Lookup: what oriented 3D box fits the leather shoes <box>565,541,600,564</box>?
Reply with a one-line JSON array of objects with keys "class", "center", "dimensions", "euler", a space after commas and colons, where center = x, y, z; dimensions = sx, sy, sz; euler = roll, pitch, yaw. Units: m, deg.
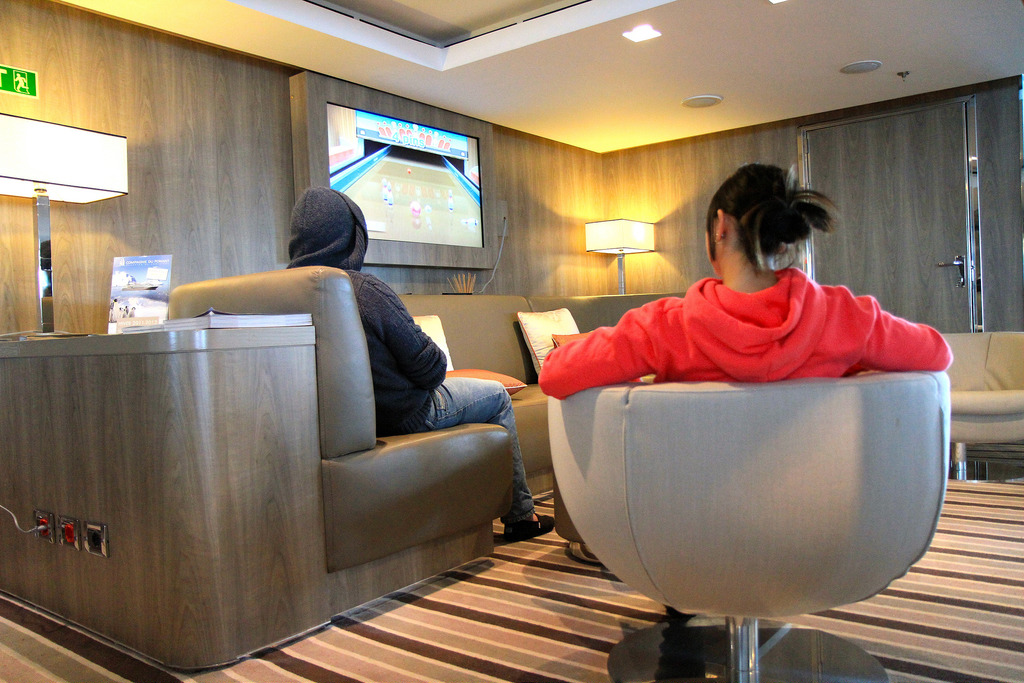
[{"class": "leather shoes", "center": [0.281, 0.863, 2.986], "dimensions": [0.088, 0.042, 0.118], "euler": [3, 6, 7]}]

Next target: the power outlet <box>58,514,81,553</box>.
[{"class": "power outlet", "center": [-1.592, 0.690, 2.645], "dimensions": [0.112, 0.107, 0.031], "euler": [11, 6, 39]}]

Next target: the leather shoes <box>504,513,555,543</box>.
[{"class": "leather shoes", "center": [0.073, 0.838, 3.319], "dimensions": [0.274, 0.103, 0.092], "euler": [-4, 4, -26]}]

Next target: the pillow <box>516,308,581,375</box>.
[{"class": "pillow", "center": [0.204, -0.029, 4.815], "dimensions": [0.128, 0.392, 0.438], "euler": [-24, -13, 38]}]

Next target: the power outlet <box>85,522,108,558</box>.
[{"class": "power outlet", "center": [-1.436, 0.688, 2.551], "dimensions": [0.145, 0.142, 0.023], "euler": [0, 0, 36]}]

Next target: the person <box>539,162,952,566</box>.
[{"class": "person", "center": [0.674, -0.163, 2.171], "dimensions": [1.162, 0.533, 0.687], "euler": [-1, 6, 8]}]

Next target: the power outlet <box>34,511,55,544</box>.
[{"class": "power outlet", "center": [-1.730, 0.686, 2.733], "dimensions": [0.089, 0.117, 0.029], "euler": [-5, 1, 24]}]
